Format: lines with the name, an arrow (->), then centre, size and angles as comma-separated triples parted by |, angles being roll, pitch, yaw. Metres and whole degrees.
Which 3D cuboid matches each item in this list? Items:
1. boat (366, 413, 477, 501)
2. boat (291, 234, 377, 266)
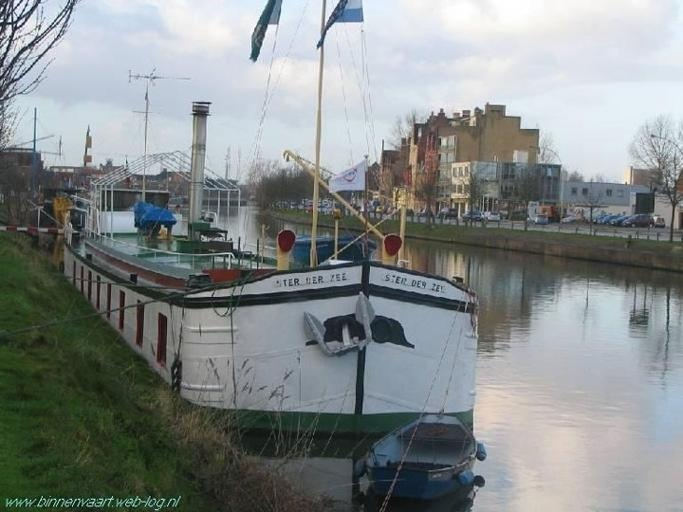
boat -> 1.617, 3.908, 16.871 | 2.161, 0.984, 3.705 | 1, 3, 16
boat -> -0.142, -0.217, 22.949 | 1.608, 0.666, 1.053 | -5, 8, -31
